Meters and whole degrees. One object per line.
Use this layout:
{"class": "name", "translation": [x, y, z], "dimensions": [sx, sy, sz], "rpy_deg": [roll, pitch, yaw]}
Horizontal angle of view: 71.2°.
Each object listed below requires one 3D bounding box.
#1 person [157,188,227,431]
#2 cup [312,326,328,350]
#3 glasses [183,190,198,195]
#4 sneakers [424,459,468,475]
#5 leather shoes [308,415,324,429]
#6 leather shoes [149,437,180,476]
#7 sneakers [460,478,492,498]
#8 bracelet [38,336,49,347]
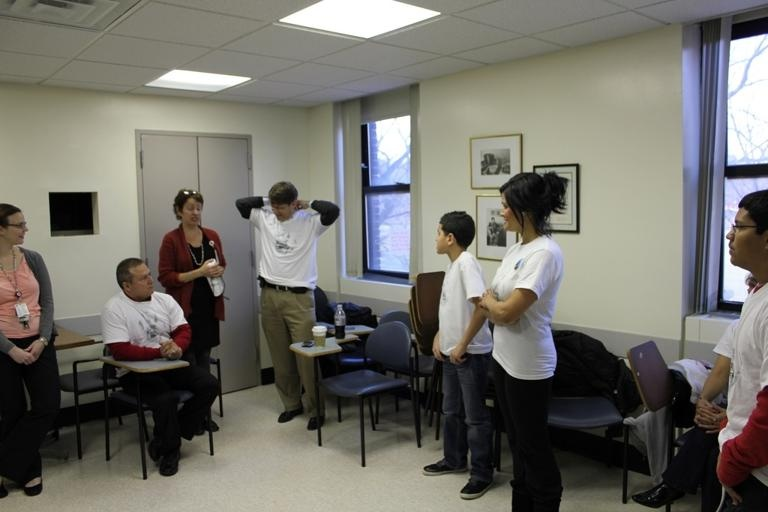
{"class": "person", "translation": [-1.829, 0.540, 5.385], "dimensions": [0.719, 2.353, 0.704], "rpy_deg": [7, 10, 19]}
{"class": "cup", "translation": [-0.589, 0.762, 5.005], "dimensions": [0.167, 0.165, 0.169], "rpy_deg": [0, -4, 0]}
{"class": "glasses", "translation": [-1.836, -0.601, 5.112], "dimensions": [0.108, 0.036, 0.073], "rpy_deg": [-6, 11, -21]}
{"class": "sneakers", "translation": [0.506, 1.761, 4.468], "dimensions": [0.360, 0.135, 0.136], "rpy_deg": [4, -5, -5]}
{"class": "leather shoes", "translation": [-0.673, 1.629, 5.231], "dimensions": [0.103, 0.108, 0.266], "rpy_deg": [-1, -10, 7]}
{"class": "leather shoes", "translation": [-1.869, 1.722, 4.606], "dimensions": [0.205, 0.296, 0.107], "rpy_deg": [-31, -12, 13]}
{"class": "sneakers", "translation": [0.716, 1.807, 4.212], "dimensions": [0.252, 0.102, 0.101], "rpy_deg": [1, -3, -25]}
{"class": "bracelet", "translation": [-2.751, 0.701, 4.377], "dimensions": [0.064, 0.046, 0.072], "rpy_deg": [12, -26, 34]}
